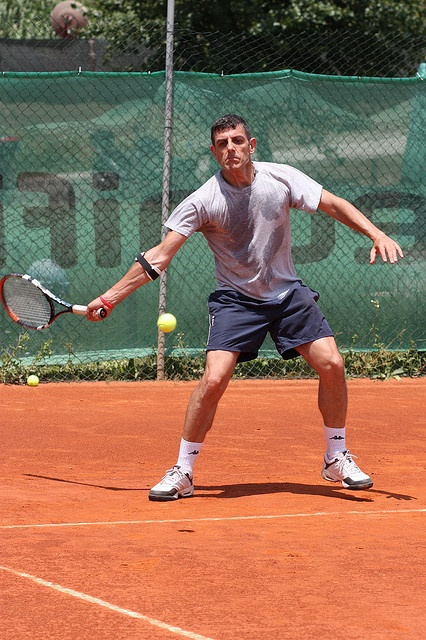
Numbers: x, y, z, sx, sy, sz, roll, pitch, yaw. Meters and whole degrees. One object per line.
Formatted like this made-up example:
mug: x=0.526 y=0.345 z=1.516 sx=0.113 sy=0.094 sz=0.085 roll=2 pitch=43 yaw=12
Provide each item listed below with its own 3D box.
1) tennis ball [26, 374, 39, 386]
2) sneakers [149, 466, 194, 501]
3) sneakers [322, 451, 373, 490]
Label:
tennis ball: x=-1.558 y=0.532 z=5.871 sx=0.095 sy=0.093 sz=0.092 roll=8 pitch=4 yaw=-1
sneakers: x=-0.177 y=0.734 z=3.020 sx=0.098 sy=0.104 sz=0.230 roll=-2 pitch=-4 yaw=33
sneakers: x=0.613 y=0.708 z=3.184 sx=0.127 sy=0.122 sz=0.275 roll=-2 pitch=2 yaw=-37
